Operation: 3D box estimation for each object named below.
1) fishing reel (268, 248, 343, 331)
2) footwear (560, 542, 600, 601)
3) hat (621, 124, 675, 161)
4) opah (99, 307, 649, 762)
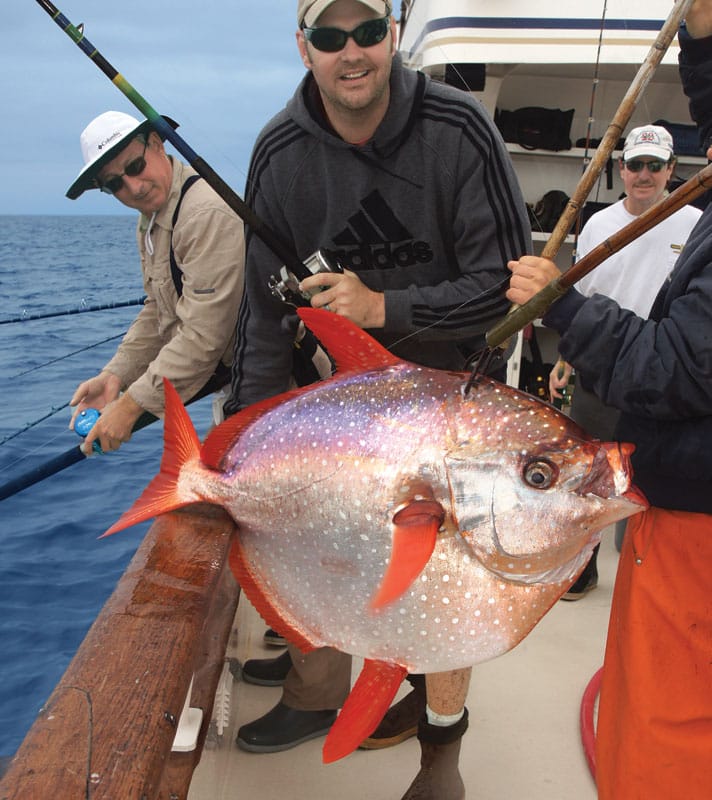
[{"bbox_3d":[-0.139,-0.259,1.791,0.216,0.124,0.075,-27,44,12],"label":"fishing reel"},{"bbox_3d":[0.902,0.732,3.133,0.069,0.116,0.201,3,6,44],"label":"footwear"},{"bbox_3d":[1.409,-1.231,3.708,0.188,0.120,0.270,9,21,25],"label":"hat"},{"bbox_3d":[0.022,0.131,1.214,0.499,0.516,0.629,-17,28,-26],"label":"opah"}]
